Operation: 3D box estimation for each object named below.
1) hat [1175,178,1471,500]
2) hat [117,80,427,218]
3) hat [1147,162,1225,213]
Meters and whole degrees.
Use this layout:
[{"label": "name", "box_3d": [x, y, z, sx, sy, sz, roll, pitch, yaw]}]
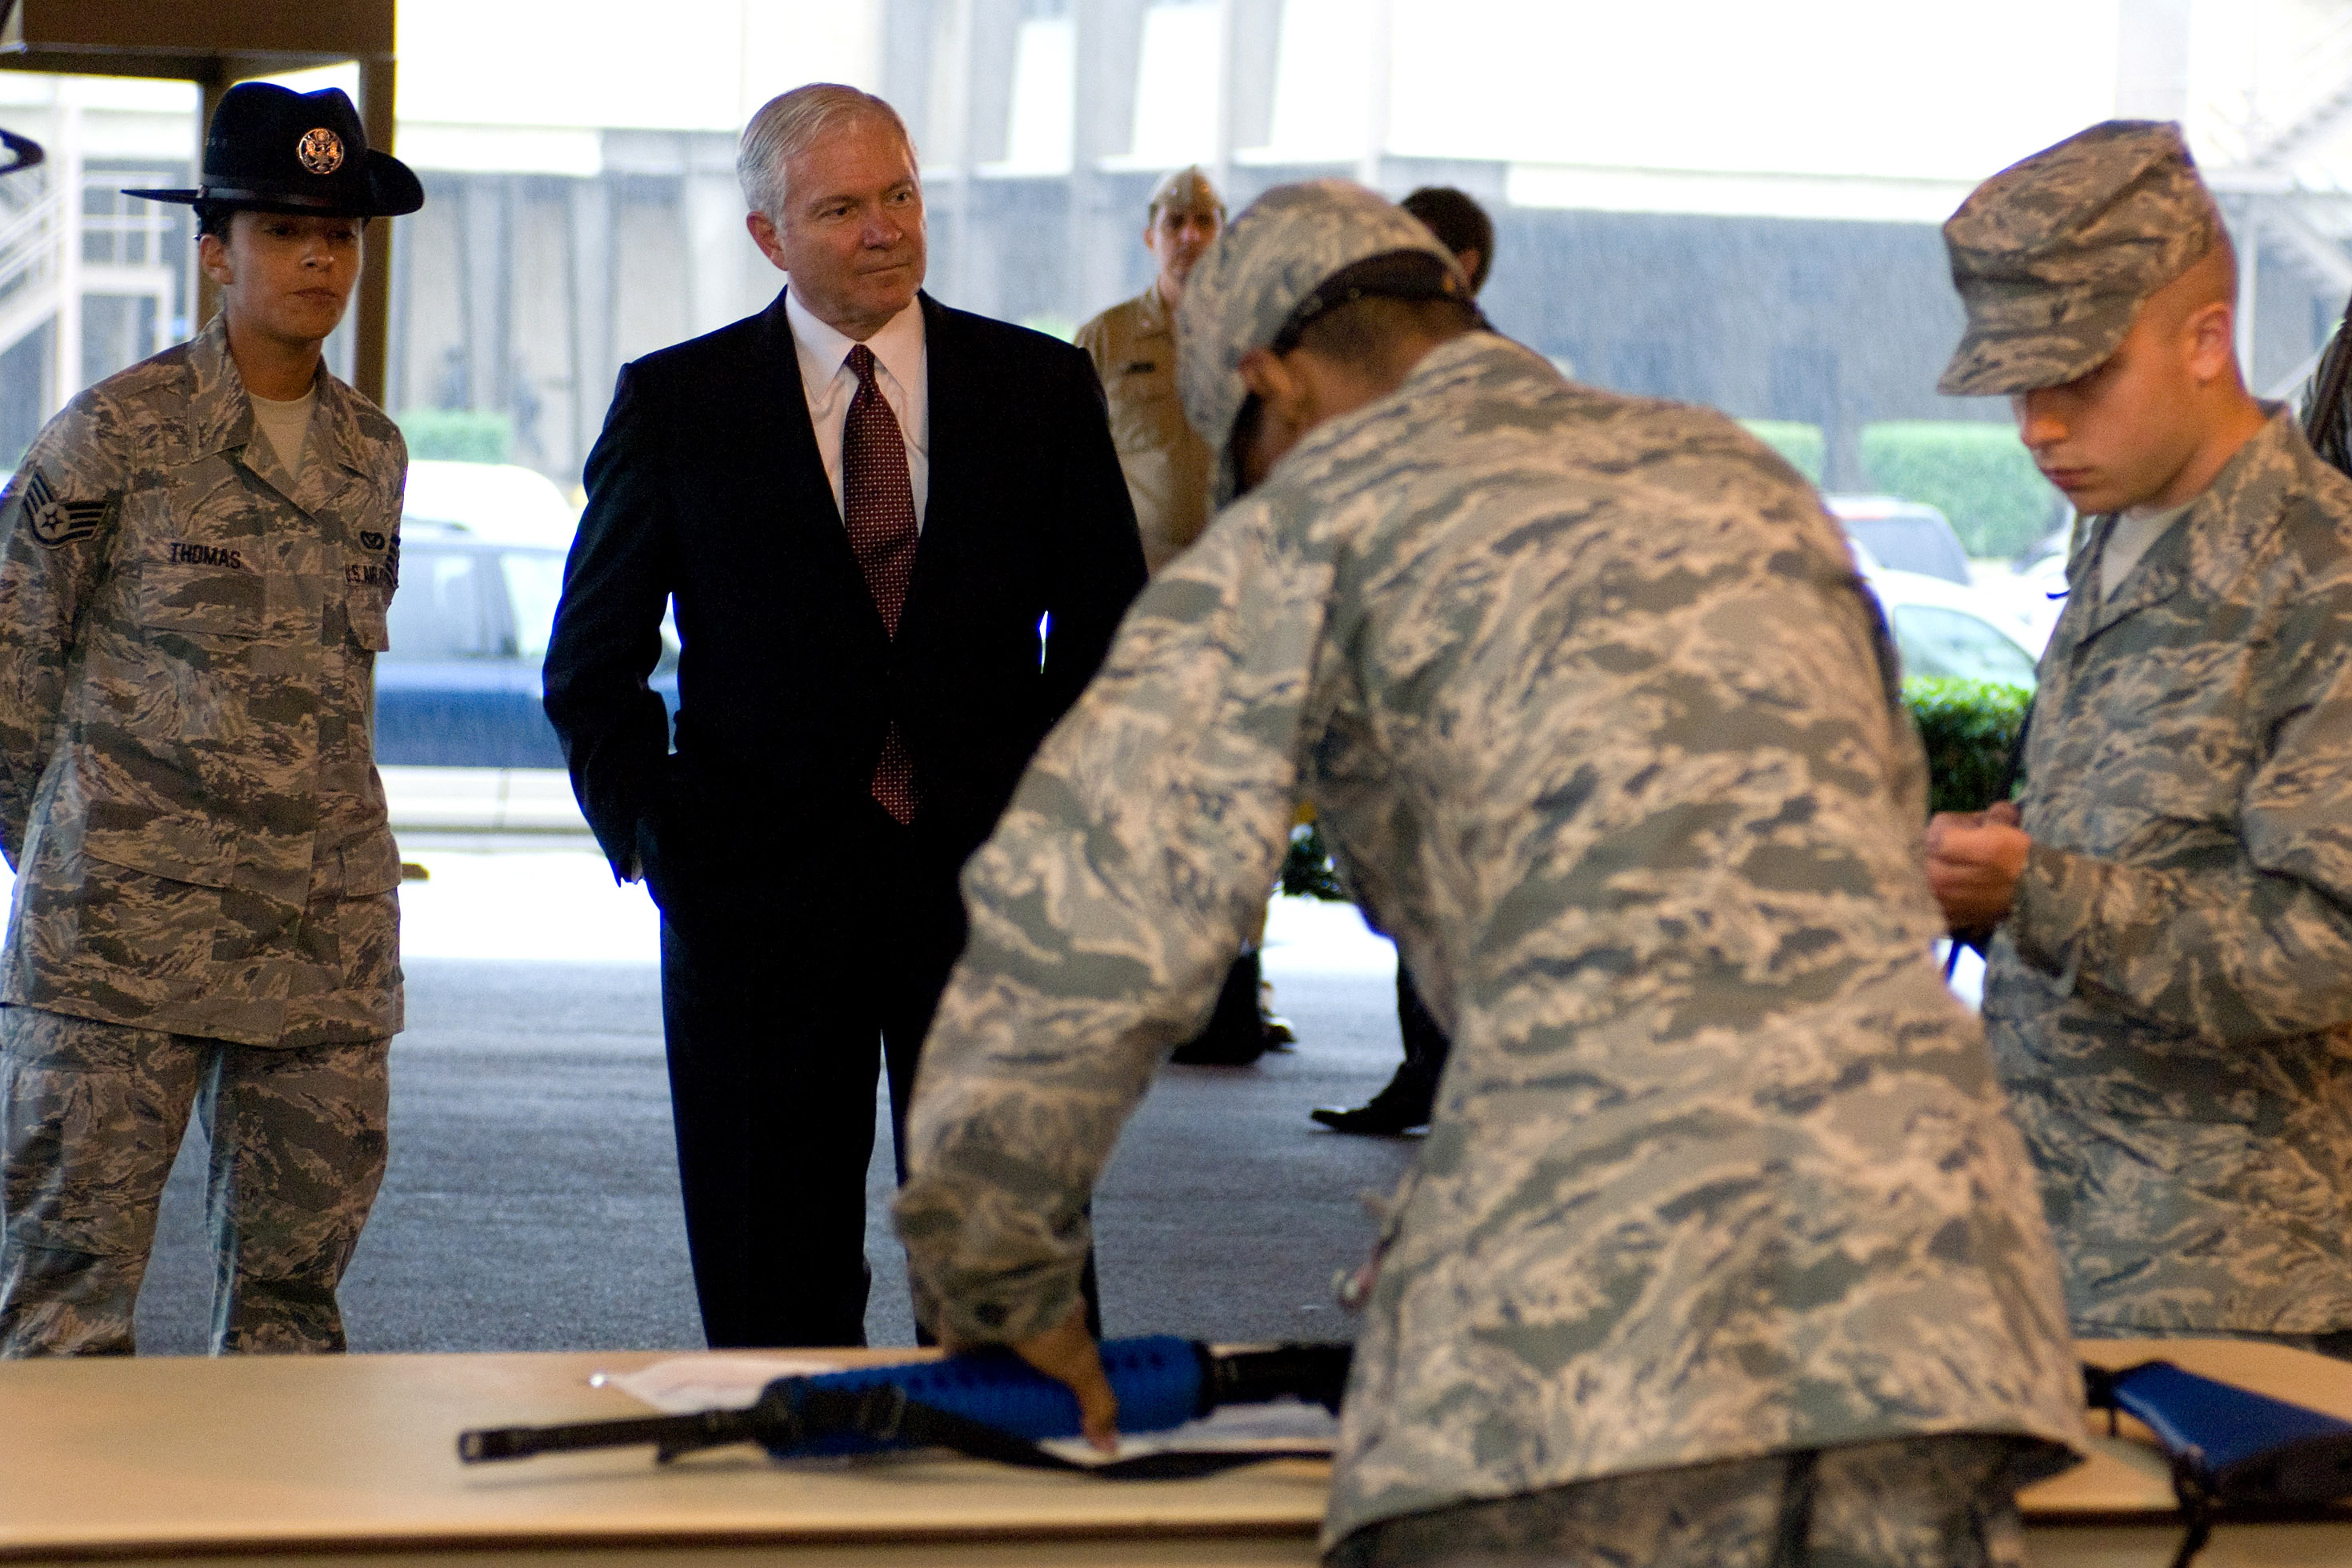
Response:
[{"label": "hat", "box_3d": [0.225, -0.778, 5.720, 0.475, 0.414, 0.343, -23, -7, 9]}, {"label": "hat", "box_3d": [-1.975, -1.367, 7.475, 0.411, 0.152, 0.442, -2, 3, -40]}, {"label": "hat", "box_3d": [-0.012, -1.842, 10.410, 0.204, 0.110, 0.196, -1, 2, -34]}]
